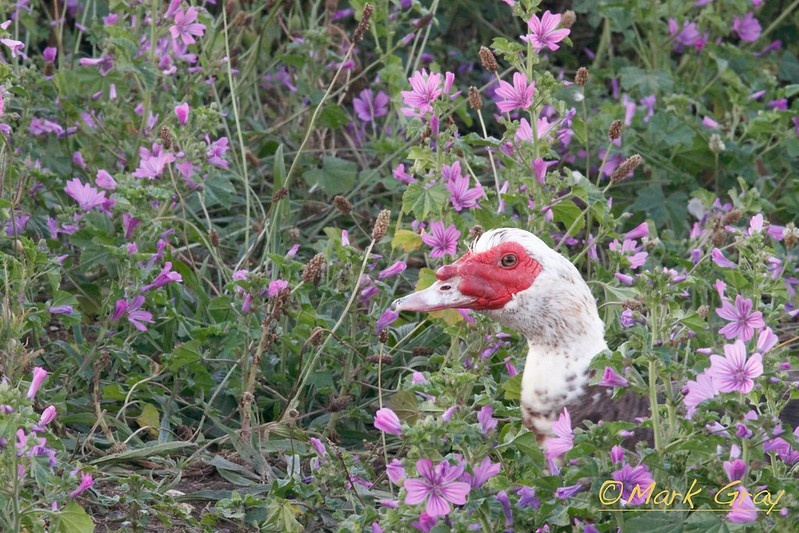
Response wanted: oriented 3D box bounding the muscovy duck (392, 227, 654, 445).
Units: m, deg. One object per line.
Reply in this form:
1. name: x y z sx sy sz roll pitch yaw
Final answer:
1. muscovy duck: 0.537 0.320 4.607 1.095 0.410 0.911 -3 93 -35
